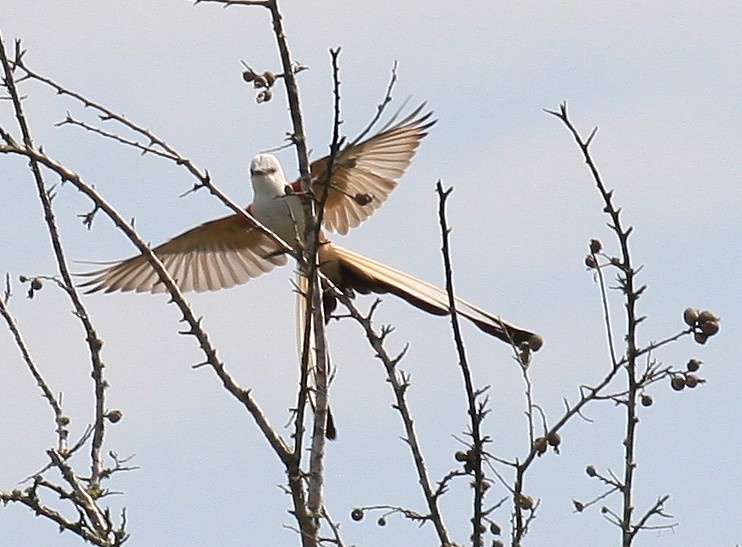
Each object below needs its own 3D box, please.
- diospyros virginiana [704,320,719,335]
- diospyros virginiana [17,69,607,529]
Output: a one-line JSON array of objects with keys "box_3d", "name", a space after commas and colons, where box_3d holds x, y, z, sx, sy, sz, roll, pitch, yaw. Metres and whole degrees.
[{"box_3d": [1.520, 0.248, 6.815, 0.069, 0.052, 0.056, -11, -63, 6], "name": "diospyros virginiana"}, {"box_3d": [-0.545, -0.420, 7.439, 2.821, 3.330, 1.557, 5, -48, -3], "name": "diospyros virginiana"}]
